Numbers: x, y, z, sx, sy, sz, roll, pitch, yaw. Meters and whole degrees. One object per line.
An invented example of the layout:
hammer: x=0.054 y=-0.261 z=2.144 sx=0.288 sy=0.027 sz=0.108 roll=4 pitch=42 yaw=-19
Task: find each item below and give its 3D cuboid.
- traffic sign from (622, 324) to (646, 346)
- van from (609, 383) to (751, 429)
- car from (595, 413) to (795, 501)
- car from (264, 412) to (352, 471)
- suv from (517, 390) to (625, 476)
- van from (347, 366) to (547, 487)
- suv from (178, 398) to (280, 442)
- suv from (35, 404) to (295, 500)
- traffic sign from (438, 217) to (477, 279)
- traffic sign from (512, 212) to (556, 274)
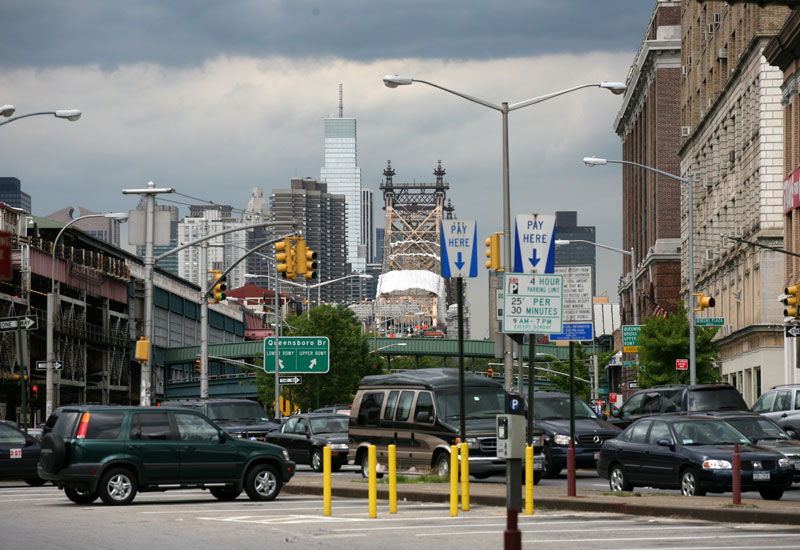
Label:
traffic sign: x=12.819 y=3.328 z=98.163 sx=1.257 sy=1.306 sz=0.136 roll=6 pitch=-17 yaw=-23
van: x=10.243 y=4.651 z=66.710 sx=2.180 sy=1.645 sz=3.988 roll=2 pitch=-2 yaw=-31
car: x=9.629 y=5.984 z=59.018 sx=2.649 sy=1.995 sz=5.728 roll=5 pitch=-8 yaw=-34
car: x=-3.384 y=6.533 z=71.206 sx=1.948 sy=1.357 sz=3.165 roll=4 pitch=-8 yaw=-42
suv: x=5.678 y=6.195 z=68.900 sx=3.351 sy=3.522 sz=8.100 roll=2 pitch=-8 yaw=-22
van: x=0.953 y=5.313 z=64.212 sx=3.680 sy=2.989 sz=5.968 roll=2 pitch=-5 yaw=-37
suv: x=-6.866 y=5.627 z=73.081 sx=1.911 sy=1.731 sz=3.461 roll=2 pitch=-8 yaw=-31
suv: x=-8.165 y=6.045 z=60.203 sx=7.365 sy=2.933 sz=3.447 roll=0 pitch=-2 yaw=-23
traffic sign: x=1.962 y=-0.772 z=60.234 sx=1.217 sy=2.149 sz=2.430 roll=-1 pitch=-10 yaw=1
traffic sign: x=4.416 y=-0.905 z=57.803 sx=1.816 sy=2.063 sz=1.421 roll=3 pitch=-11 yaw=-18
